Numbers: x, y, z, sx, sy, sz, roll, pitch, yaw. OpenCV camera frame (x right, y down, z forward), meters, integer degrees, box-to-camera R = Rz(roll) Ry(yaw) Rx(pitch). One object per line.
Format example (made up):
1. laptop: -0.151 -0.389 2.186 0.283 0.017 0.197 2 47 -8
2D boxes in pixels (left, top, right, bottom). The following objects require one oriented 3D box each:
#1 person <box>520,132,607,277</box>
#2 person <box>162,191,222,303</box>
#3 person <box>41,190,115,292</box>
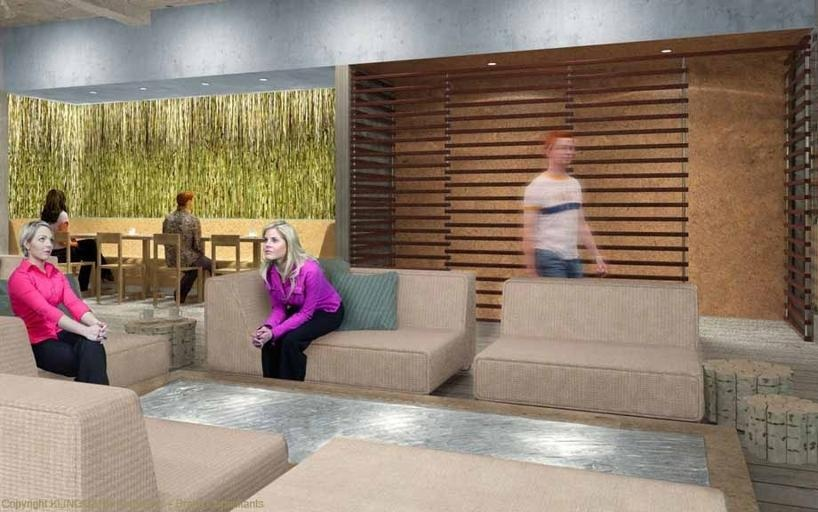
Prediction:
1. person: 1.205 -0.435 4.752 0.470 1.204 0.201 1 6 8
2. person: -3.021 -0.127 7.731 0.609 1.501 0.774 -4 7 -36
3. person: -4.912 -0.243 8.295 0.625 1.478 0.890 4 16 20
